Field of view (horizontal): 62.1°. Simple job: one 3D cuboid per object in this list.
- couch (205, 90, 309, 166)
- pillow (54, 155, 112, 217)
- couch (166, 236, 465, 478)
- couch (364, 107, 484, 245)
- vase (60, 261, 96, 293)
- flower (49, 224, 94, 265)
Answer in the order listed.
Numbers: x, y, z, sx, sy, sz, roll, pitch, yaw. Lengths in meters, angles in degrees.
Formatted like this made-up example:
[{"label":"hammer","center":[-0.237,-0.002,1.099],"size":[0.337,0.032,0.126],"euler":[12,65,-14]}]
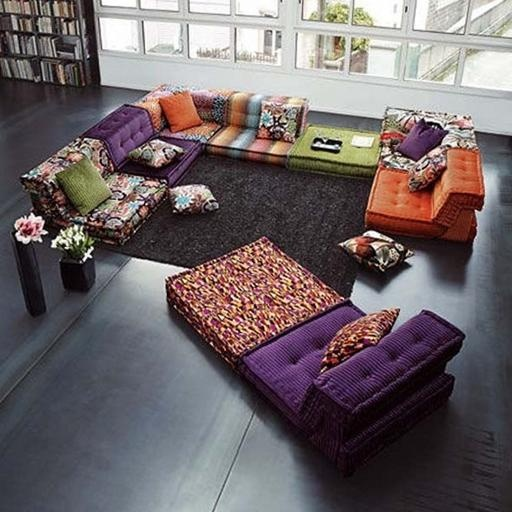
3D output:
[{"label":"couch","center":[0.011,-1.783,5.978],"size":[1.236,0.536,1.039],"euler":[17,53,16]},{"label":"pillow","center":[-1.766,-0.712,4.346],"size":[0.189,0.550,0.605],"euler":[-22,20,45]},{"label":"couch","center":[0.181,0.591,3.080],"size":[1.139,0.625,1.922],"euler":[-27,47,-31]},{"label":"couch","center":[1.893,-0.867,4.823],"size":[1.396,0.681,2.128],"euler":[13,53,15]},{"label":"vase","center":[-1.566,0.184,3.730],"size":[0.257,0.281,0.203],"euler":[1,37,-1]},{"label":"flower","center":[-1.570,-0.117,3.673],"size":[0.273,0.345,0.278],"euler":[-1,31,-7]}]
